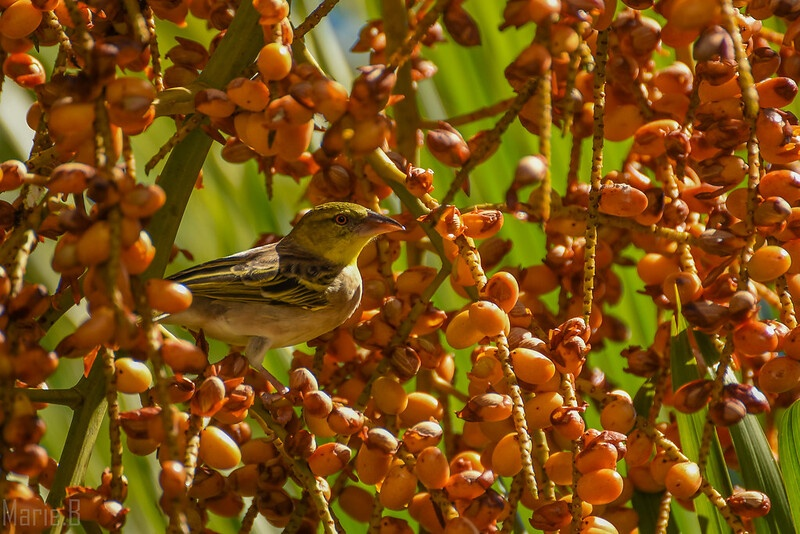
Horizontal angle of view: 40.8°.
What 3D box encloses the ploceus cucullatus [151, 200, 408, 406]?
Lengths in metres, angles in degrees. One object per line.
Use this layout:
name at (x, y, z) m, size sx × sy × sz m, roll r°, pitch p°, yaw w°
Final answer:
ploceus cucullatus at (-0.384, 0.077, 2.930) m, size 0.732 × 0.446 × 0.275 m, roll -2°, pitch 5°, yaw 3°
